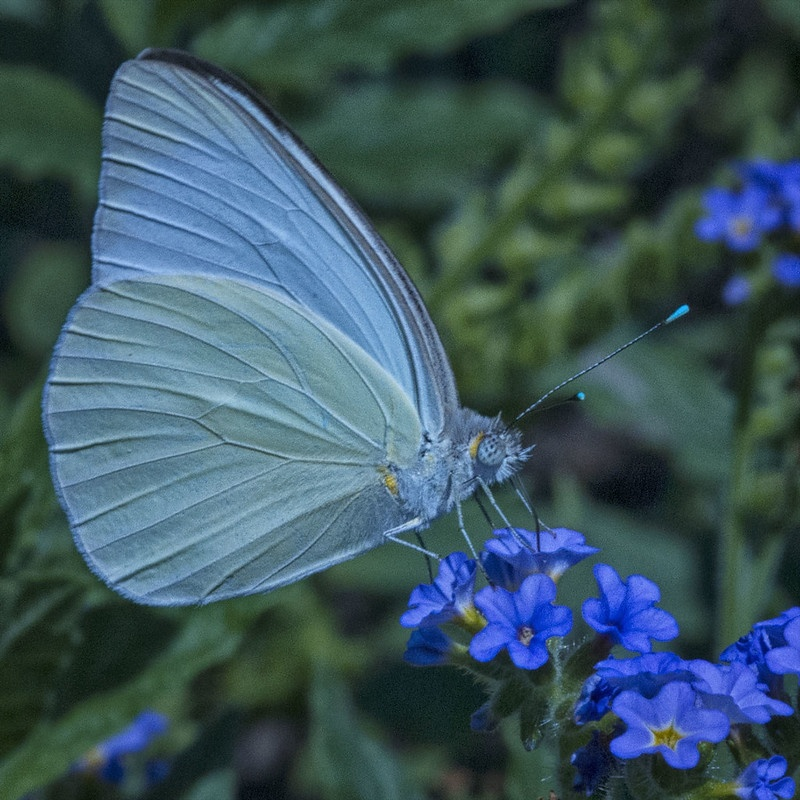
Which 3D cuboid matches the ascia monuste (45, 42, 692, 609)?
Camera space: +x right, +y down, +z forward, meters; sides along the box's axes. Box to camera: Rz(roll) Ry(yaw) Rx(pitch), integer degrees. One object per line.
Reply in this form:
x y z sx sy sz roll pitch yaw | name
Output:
-0.372 -0.121 2.880 1.158 1.509 0.641 12 32 10 | ascia monuste
